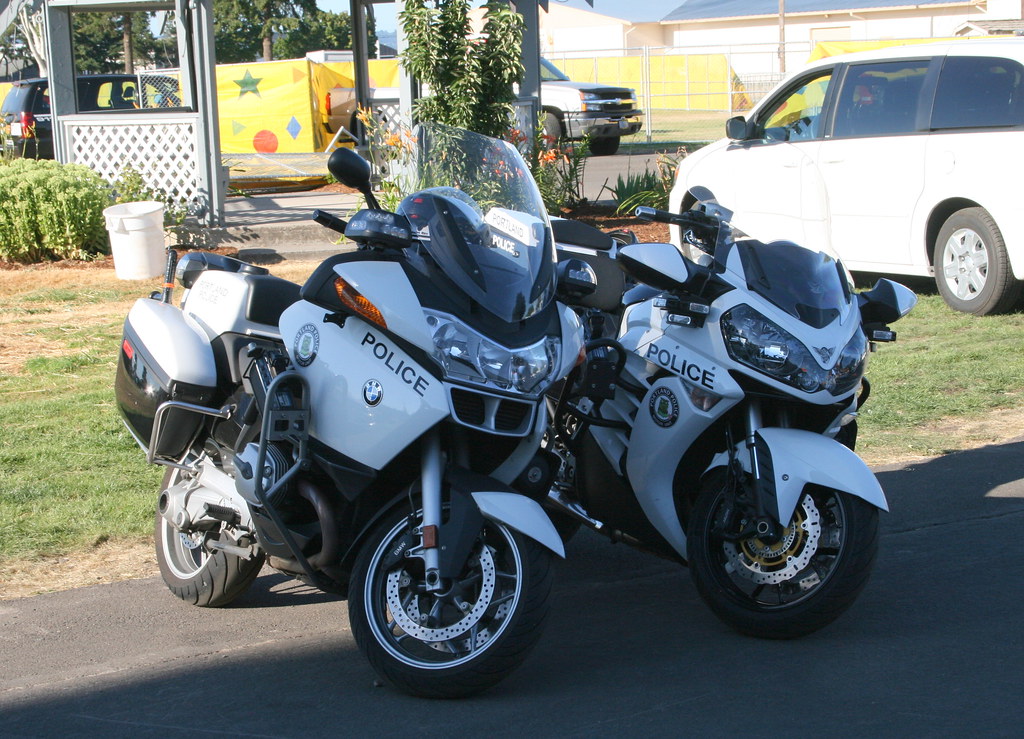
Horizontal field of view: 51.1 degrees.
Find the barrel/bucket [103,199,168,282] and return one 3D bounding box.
[{"bbox_3d":[-4.913,-1.644,14.088,0.705,0.841,0.716,-3,12,1],"label":"barrel/bucket"}]

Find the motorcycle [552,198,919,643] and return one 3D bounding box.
[{"bbox_3d":[0.982,0.259,5.148,1.569,2.013,1.062,4,15,20],"label":"motorcycle"}]

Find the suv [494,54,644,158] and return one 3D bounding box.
[{"bbox_3d":[1.006,-7.040,28.345,2.466,2.220,4.500,-7,13,-40],"label":"suv"}]
